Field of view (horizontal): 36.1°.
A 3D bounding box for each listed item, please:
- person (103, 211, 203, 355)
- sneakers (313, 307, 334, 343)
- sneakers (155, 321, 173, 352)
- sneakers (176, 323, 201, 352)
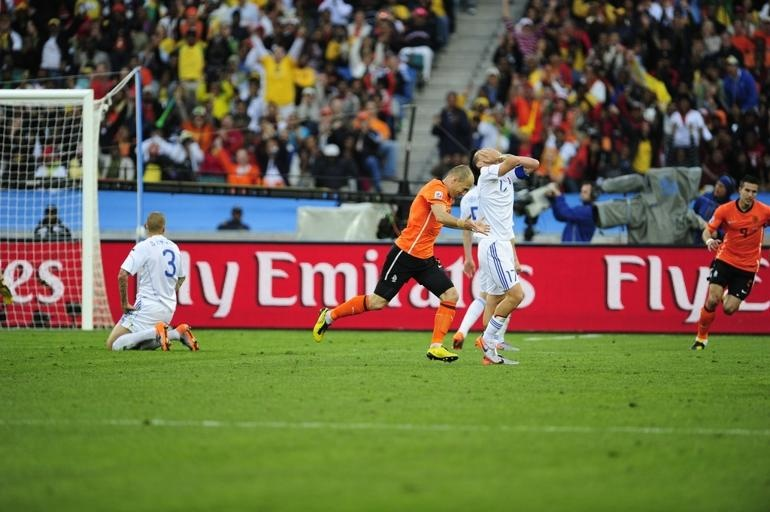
[{"bbox_3d":[-3.401,0.385,17.355,1.196,2.048,0.596,1,5,-14],"label":"person"},{"bbox_3d":[-0.892,1.009,17.390,0.262,0.598,0.197,21,7,39],"label":"sneakers"},{"bbox_3d":[-3.237,1.166,17.360,0.152,0.477,0.209,-13,1,-30],"label":"sneakers"},{"bbox_3d":[-2.857,1.221,17.401,0.208,0.488,0.250,-33,14,-7],"label":"sneakers"}]
